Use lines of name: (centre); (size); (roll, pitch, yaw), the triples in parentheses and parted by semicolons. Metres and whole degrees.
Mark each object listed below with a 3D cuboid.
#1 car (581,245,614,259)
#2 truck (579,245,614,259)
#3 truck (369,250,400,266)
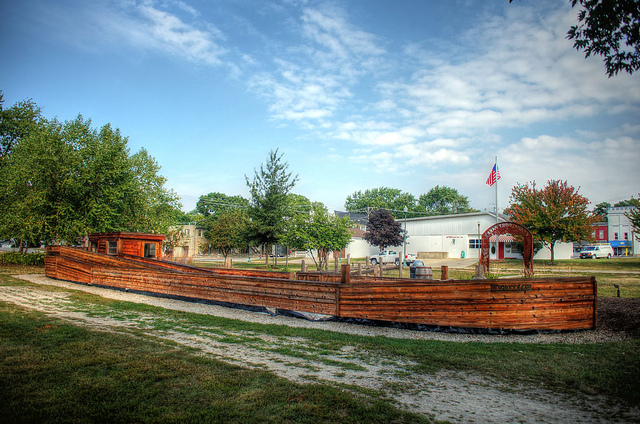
car: (33.115, 4.760, 57.380); (3.384, 1.182, 1.814); (2, -7, -18)
truck: (33.011, 4.799, 57.576); (3.603, 1.217, 1.952); (3, -8, -25)
truck: (5.769, 4.329, 46.650); (3.951, 1.692, 2.027); (1, -5, 21)
